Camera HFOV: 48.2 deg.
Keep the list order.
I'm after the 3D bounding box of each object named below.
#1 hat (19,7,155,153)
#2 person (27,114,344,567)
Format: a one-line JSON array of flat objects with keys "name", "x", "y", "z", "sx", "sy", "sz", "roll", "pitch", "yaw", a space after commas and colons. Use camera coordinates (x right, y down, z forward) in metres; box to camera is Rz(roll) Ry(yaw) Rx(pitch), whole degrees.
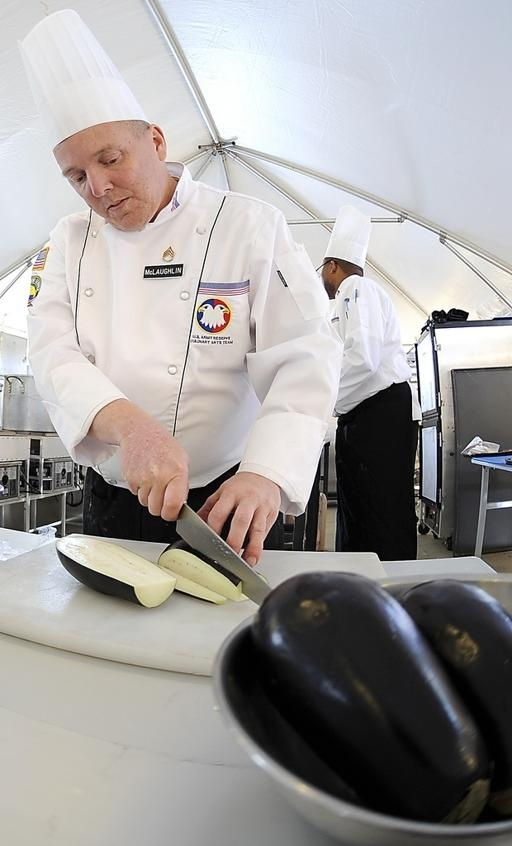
[{"name": "hat", "x": -0.312, "y": -0.613, "z": 1.033, "sx": 0.150, "sy": 0.283, "sz": 0.253, "roll": -4, "pitch": 7, "yaw": -38}, {"name": "person", "x": -0.116, "y": -0.044, "z": 0.972, "sx": 0.517, "sy": 0.804, "sz": 0.348, "roll": 3, "pitch": 10, "yaw": 7}]
